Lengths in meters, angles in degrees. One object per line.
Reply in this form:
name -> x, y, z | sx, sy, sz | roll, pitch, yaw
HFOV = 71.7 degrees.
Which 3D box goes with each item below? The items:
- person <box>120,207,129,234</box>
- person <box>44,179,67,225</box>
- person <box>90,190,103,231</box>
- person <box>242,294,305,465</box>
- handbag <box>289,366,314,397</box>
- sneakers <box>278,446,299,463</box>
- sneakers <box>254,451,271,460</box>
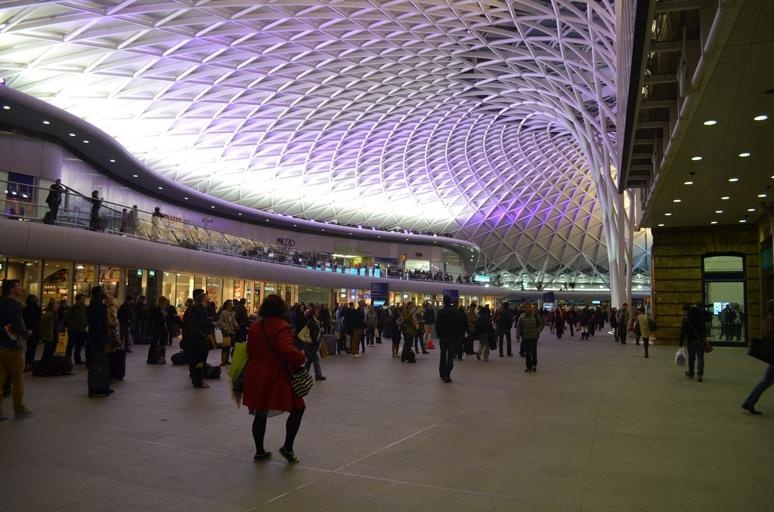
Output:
person -> -11.725, -1.540, 24.059 | 0.278, 1.225, 0.622 | 3, -10, -14
person -> -12.885, -2.062, 20.884 | 0.471, 1.782, 0.715 | 1, -10, 0
person -> -12.193, -1.702, 22.518 | 0.315, 1.409, 0.648 | 1, -9, 2
person -> -1.748, 1.853, 8.221 | 0.973, 2.527, 0.619 | 0, -10, 5
handbag -> -1.307, 1.931, 8.185 | 0.330, 0.451, 0.191 | 6, -11, -31
sneakers -> -1.493, 3.020, 8.158 | 0.382, 0.162, 0.139 | 42, 5, -23
sneakers -> -1.902, 3.064, 8.281 | 0.271, 0.107, 0.096 | 0, 0, -35
